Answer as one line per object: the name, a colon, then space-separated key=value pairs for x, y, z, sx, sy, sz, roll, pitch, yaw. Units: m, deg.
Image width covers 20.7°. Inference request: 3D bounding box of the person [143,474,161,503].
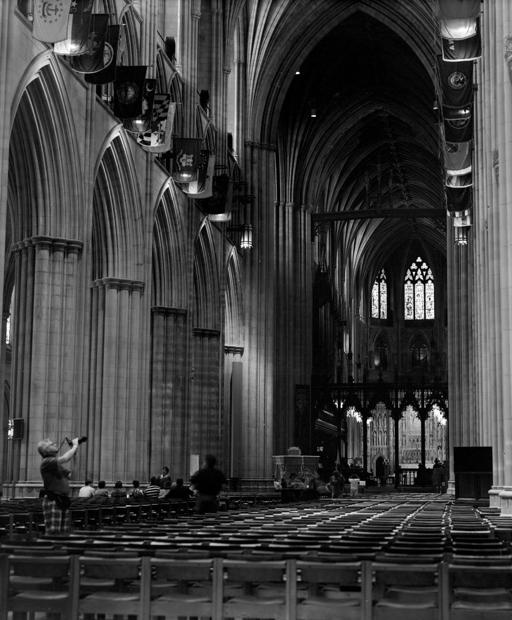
person: x=-2.000 y=3.438 z=27.403 sx=0.250 sy=0.921 sz=0.246 roll=-16 pitch=-25 yaw=25
